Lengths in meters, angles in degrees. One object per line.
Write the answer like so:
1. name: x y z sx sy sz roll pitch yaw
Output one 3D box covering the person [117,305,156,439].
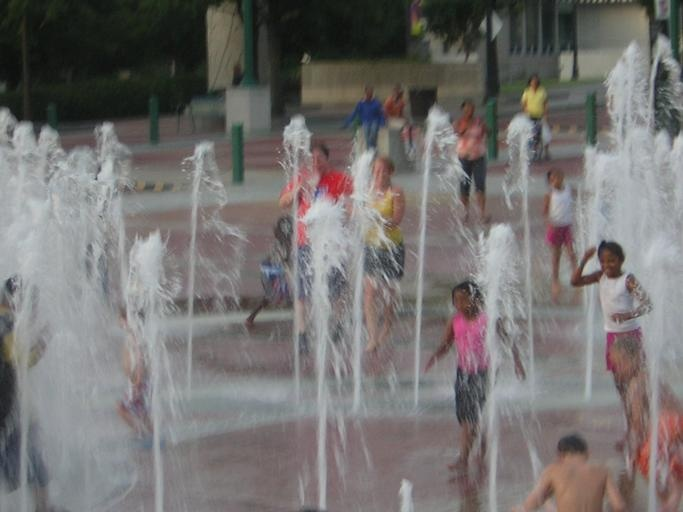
1. person: -2.562 1.442 21.238 0.402 1.545 0.259 -3 5 -8
